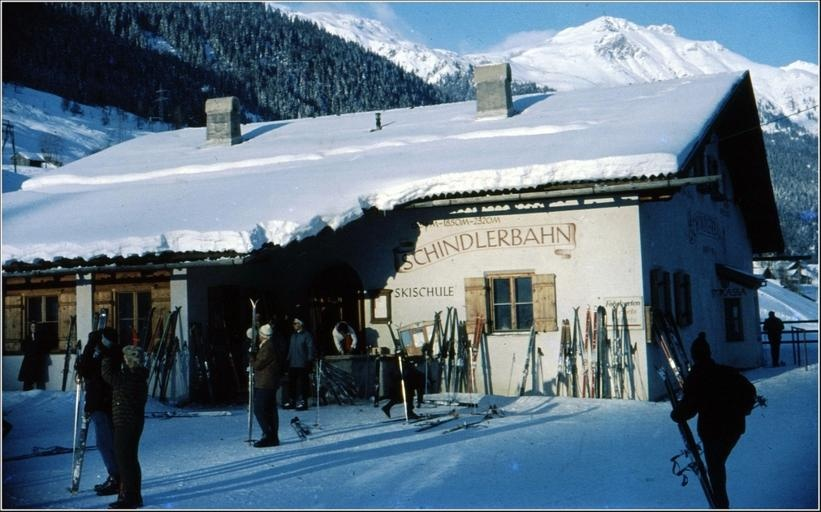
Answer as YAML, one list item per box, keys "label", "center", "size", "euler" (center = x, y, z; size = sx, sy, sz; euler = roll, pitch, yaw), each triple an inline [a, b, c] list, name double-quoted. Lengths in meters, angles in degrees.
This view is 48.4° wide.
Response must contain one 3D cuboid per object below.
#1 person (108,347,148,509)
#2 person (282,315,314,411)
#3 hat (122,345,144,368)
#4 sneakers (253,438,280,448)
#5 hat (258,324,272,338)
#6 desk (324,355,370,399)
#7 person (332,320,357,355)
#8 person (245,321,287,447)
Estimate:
- label: "person"
  center: [-5.911, 3.538, 18.981]
  size: [0.902, 3.128, 1.135]
  euler: [-4, 11, -17]
- label: "person"
  center: [-3.096, 2.919, 24.701]
  size: [0.749, 2.445, 1.036]
  euler: [-6, 12, -27]
- label: "hat"
  center: [-5.892, 2.107, 19.391]
  size: [0.354, 0.505, 0.473]
  euler: [5, 7, -8]
- label: "sneakers"
  center: [-3.390, 4.371, 21.327]
  size: [0.487, 0.227, 0.234]
  euler: [5, -6, -3]
- label: "hat"
  center: [-3.394, 1.744, 21.293]
  size: [0.221, 0.254, 0.300]
  euler: [1, 0, -9]
- label: "desk"
  center: [-1.807, 3.420, 25.399]
  size: [1.327, 1.198, 0.535]
  euler: [-3, 11, -9]
- label: "person"
  center: [-1.900, 2.344, 26.316]
  size: [0.580, 0.942, 1.261]
  euler: [-8, -11, -8]
- label: "person"
  center: [-3.412, 3.026, 21.351]
  size: [0.652, 2.809, 0.692]
  euler: [-3, 11, -10]
